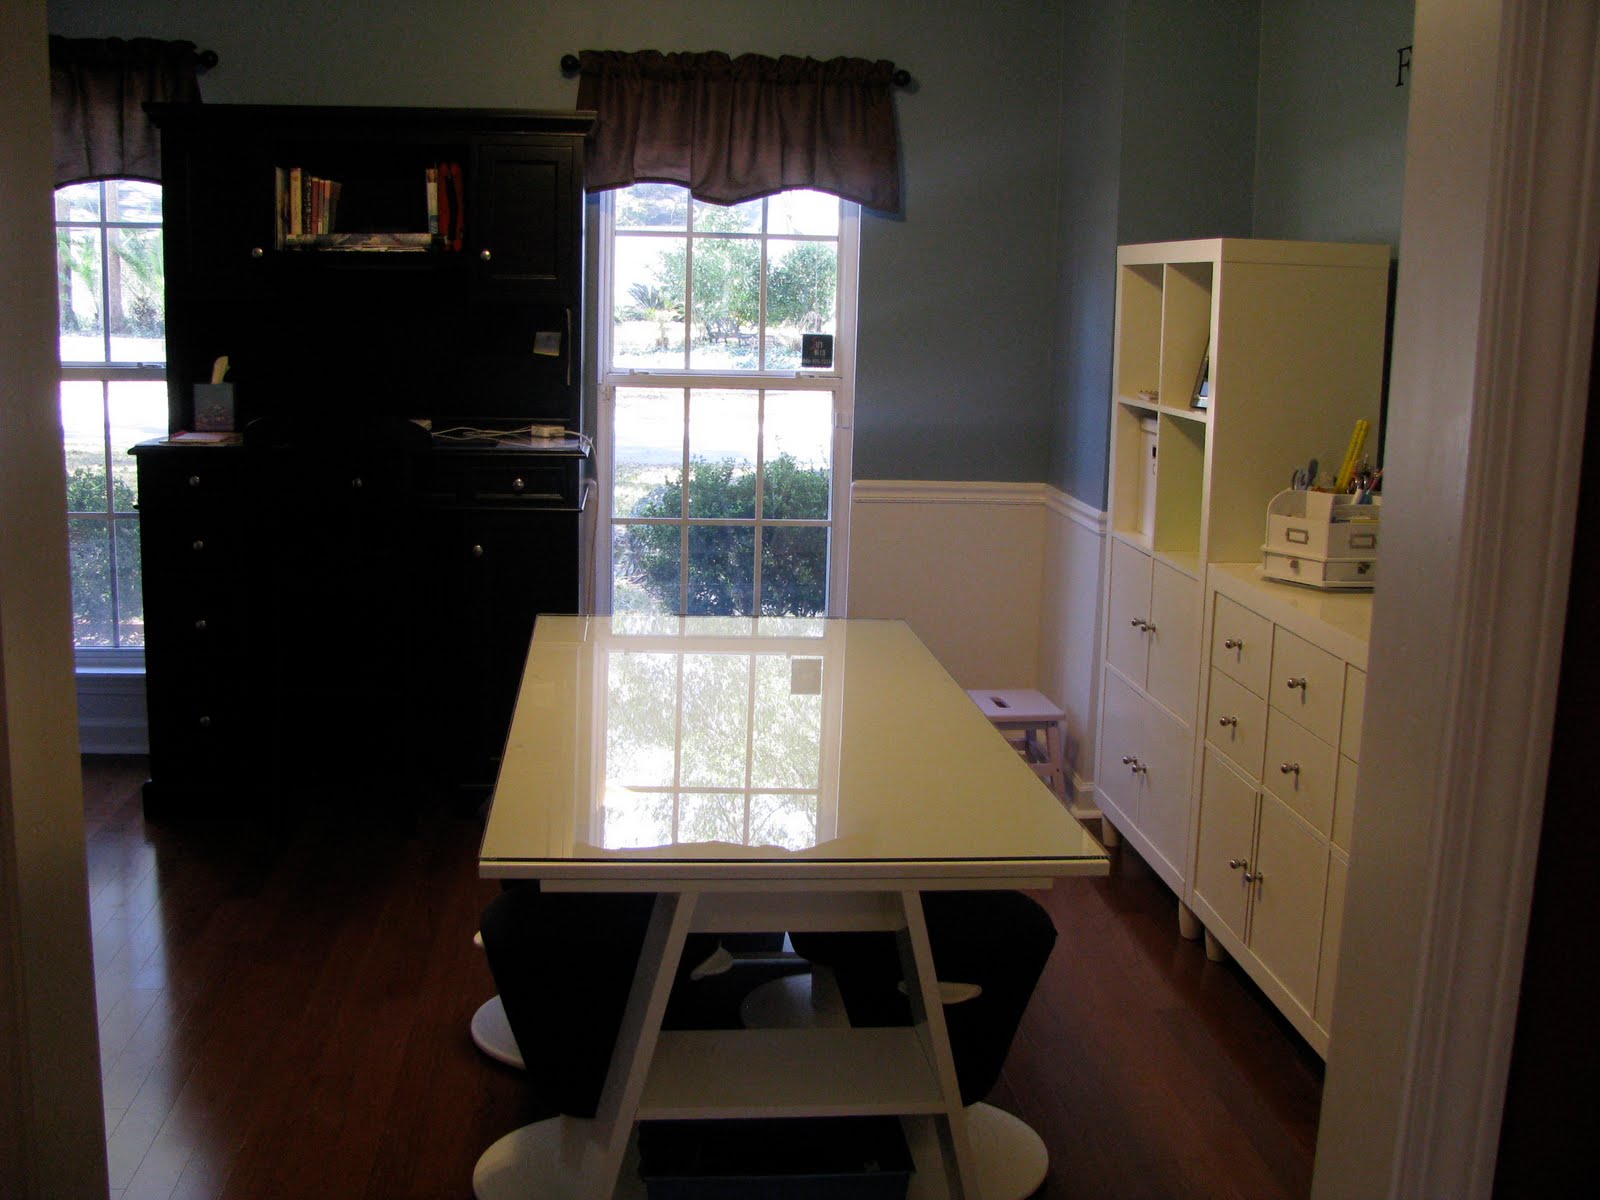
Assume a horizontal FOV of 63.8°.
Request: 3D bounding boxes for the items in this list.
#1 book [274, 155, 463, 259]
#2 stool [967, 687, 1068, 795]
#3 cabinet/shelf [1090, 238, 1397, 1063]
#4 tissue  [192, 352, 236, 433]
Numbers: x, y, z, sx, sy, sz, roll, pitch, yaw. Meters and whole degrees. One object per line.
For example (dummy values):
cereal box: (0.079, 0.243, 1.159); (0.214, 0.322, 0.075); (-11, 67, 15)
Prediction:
book: (-1.499, -1.373, 4.511); (0.654, 0.314, 0.307); (-2, 14, -11)
stool: (0.821, 0.514, 4.872); (0.398, 0.411, 0.428); (0, 26, -3)
cabinet/shelf: (1.279, 0.025, 3.629); (0.559, 2.010, 1.735); (1, 14, 2)
tissue : (-2.042, -0.717, 4.476); (0.144, 0.253, 0.205); (-6, 16, -27)
